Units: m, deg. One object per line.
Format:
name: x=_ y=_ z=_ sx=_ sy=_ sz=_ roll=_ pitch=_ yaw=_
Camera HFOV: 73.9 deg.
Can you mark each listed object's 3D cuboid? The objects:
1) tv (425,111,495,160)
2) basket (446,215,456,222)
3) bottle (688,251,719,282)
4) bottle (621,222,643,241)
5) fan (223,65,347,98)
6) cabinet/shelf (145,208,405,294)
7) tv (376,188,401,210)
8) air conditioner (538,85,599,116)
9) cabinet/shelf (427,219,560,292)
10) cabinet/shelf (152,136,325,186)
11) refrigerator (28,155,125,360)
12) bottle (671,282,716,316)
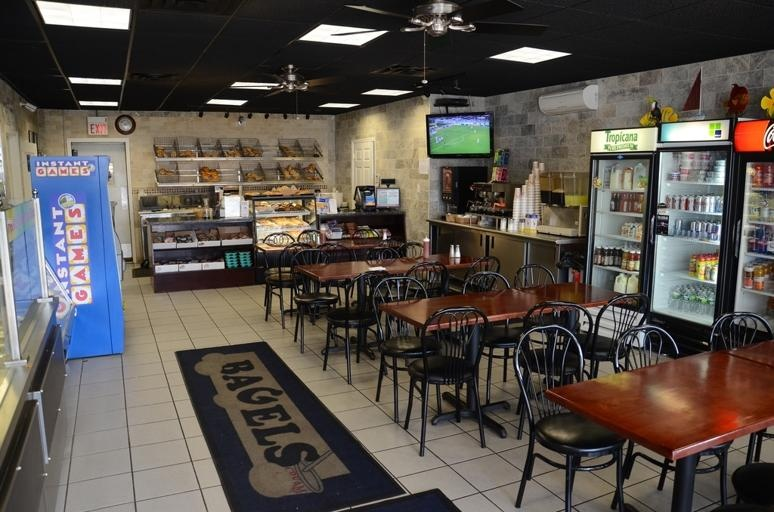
tv: x=1.270 y=-2.071 z=8.868 sx=1.074 sy=0.617 sz=0.104 roll=2 pitch=5 yaw=26
basket: x=1.131 y=-0.663 z=9.082 sx=0.162 sy=0.058 sz=0.115 roll=1 pitch=2 yaw=-37
bottle: x=3.744 y=0.123 z=6.118 sx=0.388 sy=0.299 sz=0.341 roll=2 pitch=5 yaw=1
bottle: x=3.184 y=-0.311 z=6.675 sx=0.147 sy=0.205 sz=0.248 roll=-9 pitch=14 yaw=-34
fan: x=-1.506 y=-2.526 z=7.432 sx=0.820 sy=0.196 sz=0.918 roll=9 pitch=15 yaw=41
cabinet/shelf: x=-1.811 y=-0.423 z=9.448 sx=4.985 sy=1.085 sz=0.708 roll=-1 pitch=8 yaw=-30
tv: x=0.015 y=-1.126 z=10.119 sx=0.479 sy=0.354 sz=0.166 roll=-1 pitch=10 yaw=-14
air conditioner: x=2.737 y=-2.326 z=7.767 sx=0.276 sy=0.364 sz=0.847 roll=-10 pitch=11 yaw=-30
cabinet/shelf: x=1.709 y=-0.079 z=8.408 sx=2.320 sy=0.684 sz=0.438 roll=12 pitch=20 yaw=30
cabinet/shelf: x=-3.394 y=-2.119 z=11.894 sx=3.801 sy=0.933 sz=0.549 roll=-4 pitch=12 yaw=-18
refrigerator: x=-3.557 y=0.041 z=6.106 sx=0.803 sy=2.409 sz=0.252 roll=-10 pitch=12 yaw=-24
bottle: x=3.700 y=0.526 z=6.216 sx=0.410 sy=0.153 sz=0.385 roll=1 pitch=7 yaw=0
